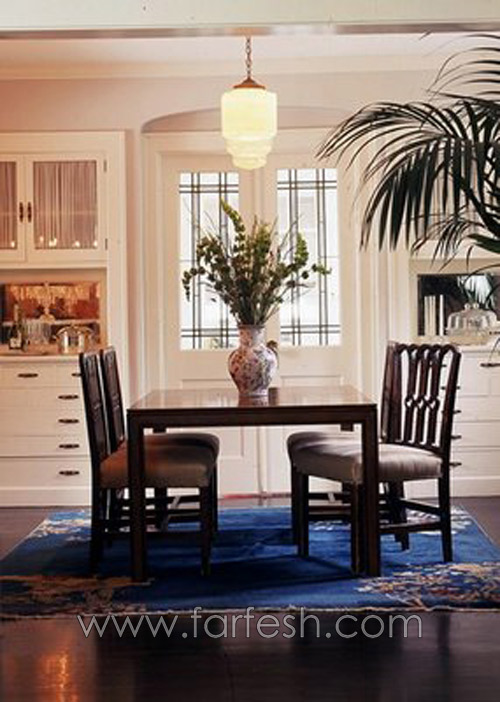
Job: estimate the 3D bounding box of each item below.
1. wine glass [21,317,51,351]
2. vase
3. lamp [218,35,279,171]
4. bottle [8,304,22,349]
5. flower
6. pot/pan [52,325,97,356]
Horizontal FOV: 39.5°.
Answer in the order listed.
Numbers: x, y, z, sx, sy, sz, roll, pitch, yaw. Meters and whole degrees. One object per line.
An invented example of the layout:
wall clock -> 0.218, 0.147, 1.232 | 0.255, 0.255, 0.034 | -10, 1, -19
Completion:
wine glass -> -1.402, -0.105, 4.655 | 0.195, 0.218, 0.193 | 0, -2, 2
vase -> 0.008, 0.038, 3.092 | 0.225, 0.314, 0.219 | -2, 5, 0
lamp -> -0.007, -1.078, 2.848 | 0.235, 0.661, 0.231 | -3, 5, -22
bottle -> -1.537, -0.155, 4.552 | 0.079, 0.307, 0.102 | -1, 0, -16
flower -> -0.033, -0.324, 2.976 | 0.410, 0.494, 0.390 | -13, 0, -43
pot/pan -> -1.123, -0.066, 4.439 | 0.345, 0.237, 0.235 | -1, -2, -9
